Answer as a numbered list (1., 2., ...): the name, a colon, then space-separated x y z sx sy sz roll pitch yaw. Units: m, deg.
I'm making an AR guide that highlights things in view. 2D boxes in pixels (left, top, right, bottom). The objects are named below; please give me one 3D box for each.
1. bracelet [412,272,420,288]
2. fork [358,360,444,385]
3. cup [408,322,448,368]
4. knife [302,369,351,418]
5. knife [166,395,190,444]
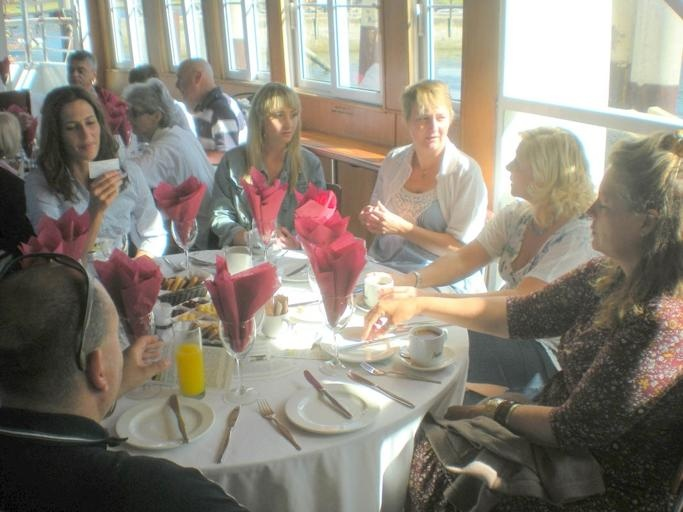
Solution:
1. bracelet: 0.328 0.096 2.468 0.013 0.052 0.053 3 44 -10
2. fork: 0.188 0.364 1.757 0.183 0.023 0.026 11 31 10
3. cup: 0.279 0.288 1.819 0.108 0.115 0.148 7 15 23
4. knife: -0.049 0.395 1.655 0.051 0.019 0.343 -20 27 -14
5. knife: -0.447 0.439 1.544 0.028 0.021 0.190 2 23 -29
